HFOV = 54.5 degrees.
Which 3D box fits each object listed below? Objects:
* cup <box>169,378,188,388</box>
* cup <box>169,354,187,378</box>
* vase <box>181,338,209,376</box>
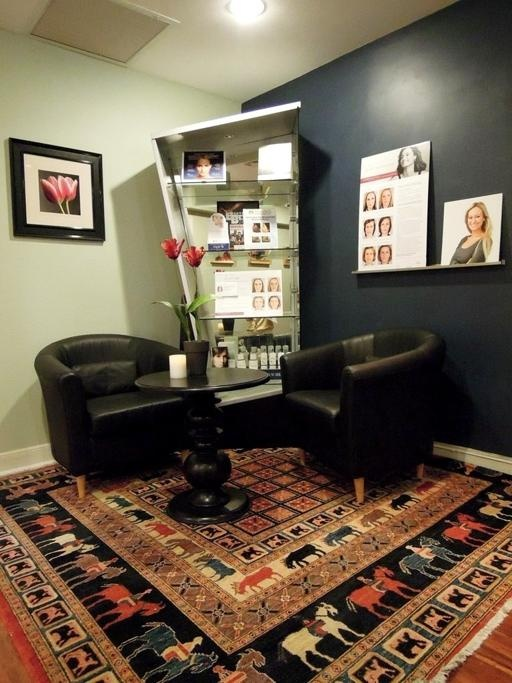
[{"bbox_3d":[-0.335,0.183,2.154,0.050,0.032,0.048,0,7,0],"label":"cup"},{"bbox_3d":[-0.360,0.116,2.350,0.103,0.107,0.100,0,5,0],"label":"cup"},{"bbox_3d":[-0.297,0.082,2.437,0.157,0.168,0.166,2,-3,-43],"label":"vase"}]
